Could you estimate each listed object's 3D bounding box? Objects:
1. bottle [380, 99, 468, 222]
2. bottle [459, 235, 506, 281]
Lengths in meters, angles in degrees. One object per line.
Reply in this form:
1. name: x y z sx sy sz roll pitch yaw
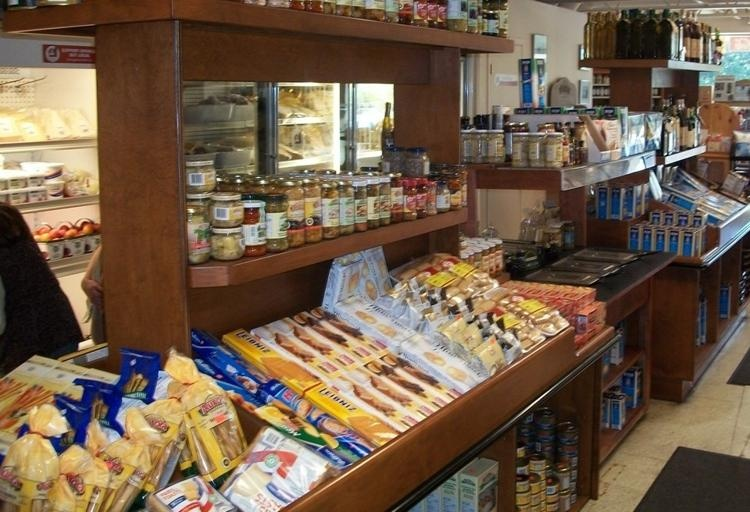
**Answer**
1. bottle: 0.168 -0.404 2.540 0.434 0.694 0.436 -3 8 0
2. bottle: 0.665 0.022 3.118 0.328 0.170 0.240 4 9 34
